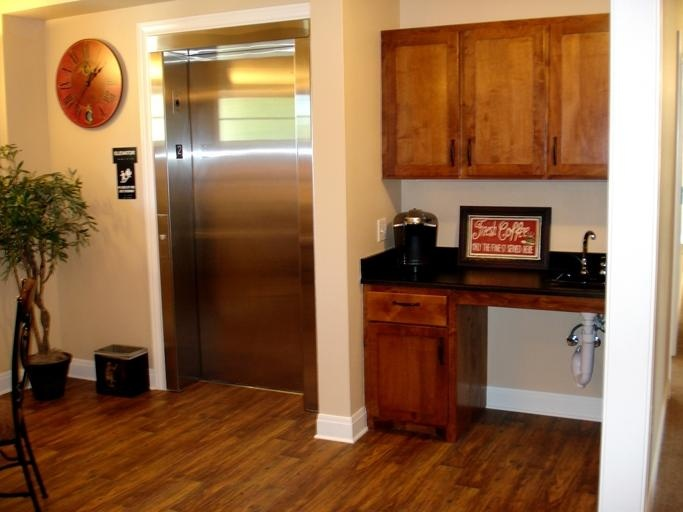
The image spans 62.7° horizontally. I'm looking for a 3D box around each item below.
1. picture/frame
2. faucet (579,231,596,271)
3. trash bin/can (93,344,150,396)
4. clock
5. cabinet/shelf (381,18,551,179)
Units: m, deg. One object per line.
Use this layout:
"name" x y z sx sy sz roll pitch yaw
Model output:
"picture/frame" 1.143 -0.115 3.843 0.426 0.321 0.043 1 -3 21
"faucet" 1.607 -0.023 3.646 0.096 0.298 0.366 3 11 24
"trash bin/can" -1.780 0.896 4.407 0.449 0.446 0.341 0 -1 31
"clock" -1.946 -1.361 4.367 0.686 0.706 0.082 3 5 28
"cabinet/shelf" 0.858 -1.037 3.698 1.077 0.964 0.429 2 3 18
